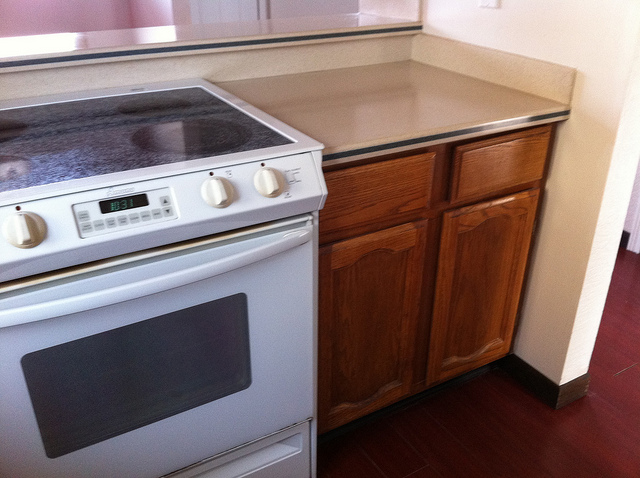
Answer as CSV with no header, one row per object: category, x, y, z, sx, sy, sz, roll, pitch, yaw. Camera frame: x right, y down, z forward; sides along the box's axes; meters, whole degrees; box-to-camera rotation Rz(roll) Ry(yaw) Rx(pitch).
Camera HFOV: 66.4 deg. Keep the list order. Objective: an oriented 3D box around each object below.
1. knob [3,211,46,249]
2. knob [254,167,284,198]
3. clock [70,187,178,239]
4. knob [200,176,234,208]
knob,-0.543,-0.018,0.894,0.067,0.056,0.045,-14,32,-24
knob,-0.114,-0.122,1.062,0.084,0.059,0.019,-9,-3,-12
clock,-0.382,-0.060,0.977,0.253,0.081,0.033,-8,7,16
knob,-0.215,-0.097,1.027,0.051,0.061,0.059,23,36,35
